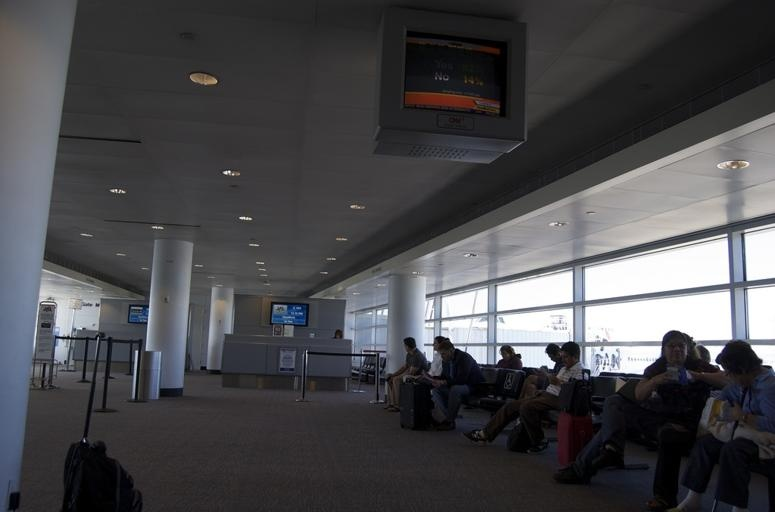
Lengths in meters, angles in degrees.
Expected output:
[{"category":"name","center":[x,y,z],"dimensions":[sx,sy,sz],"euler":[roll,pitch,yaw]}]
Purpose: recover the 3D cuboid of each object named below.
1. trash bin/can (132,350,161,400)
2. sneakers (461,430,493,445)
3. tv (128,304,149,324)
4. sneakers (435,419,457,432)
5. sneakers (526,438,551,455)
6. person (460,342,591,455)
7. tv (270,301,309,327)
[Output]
[{"category":"trash bin/can","center":[-5.222,2.577,11.900],"dimensions":[0.568,1.036,0.566],"euler":[9,-12,-23]},{"category":"sneakers","center":[1.256,2.509,7.681],"dimensions":[0.439,0.187,0.172],"euler":[3,-10,31]},{"category":"tv","center":[-11.556,2.687,25.391],"dimensions":[1.241,1.054,0.292],"euler":[-1,-16,7]},{"category":"sneakers","center":[0.965,2.756,8.974],"dimensions":[0.387,0.153,0.144],"euler":[16,-18,-30]},{"category":"sneakers","center":[2.048,2.561,7.395],"dimensions":[0.405,0.170,0.142],"euler":[-1,-14,-33]},{"category":"person","center":[1.917,1.927,7.586],"dimensions":[1.658,1.486,0.807],"euler":[1,-16,1]},{"category":"tv","center":[-3.616,2.164,20.456],"dimensions":[1.046,0.581,0.101],"euler":[1,-22,7]}]
